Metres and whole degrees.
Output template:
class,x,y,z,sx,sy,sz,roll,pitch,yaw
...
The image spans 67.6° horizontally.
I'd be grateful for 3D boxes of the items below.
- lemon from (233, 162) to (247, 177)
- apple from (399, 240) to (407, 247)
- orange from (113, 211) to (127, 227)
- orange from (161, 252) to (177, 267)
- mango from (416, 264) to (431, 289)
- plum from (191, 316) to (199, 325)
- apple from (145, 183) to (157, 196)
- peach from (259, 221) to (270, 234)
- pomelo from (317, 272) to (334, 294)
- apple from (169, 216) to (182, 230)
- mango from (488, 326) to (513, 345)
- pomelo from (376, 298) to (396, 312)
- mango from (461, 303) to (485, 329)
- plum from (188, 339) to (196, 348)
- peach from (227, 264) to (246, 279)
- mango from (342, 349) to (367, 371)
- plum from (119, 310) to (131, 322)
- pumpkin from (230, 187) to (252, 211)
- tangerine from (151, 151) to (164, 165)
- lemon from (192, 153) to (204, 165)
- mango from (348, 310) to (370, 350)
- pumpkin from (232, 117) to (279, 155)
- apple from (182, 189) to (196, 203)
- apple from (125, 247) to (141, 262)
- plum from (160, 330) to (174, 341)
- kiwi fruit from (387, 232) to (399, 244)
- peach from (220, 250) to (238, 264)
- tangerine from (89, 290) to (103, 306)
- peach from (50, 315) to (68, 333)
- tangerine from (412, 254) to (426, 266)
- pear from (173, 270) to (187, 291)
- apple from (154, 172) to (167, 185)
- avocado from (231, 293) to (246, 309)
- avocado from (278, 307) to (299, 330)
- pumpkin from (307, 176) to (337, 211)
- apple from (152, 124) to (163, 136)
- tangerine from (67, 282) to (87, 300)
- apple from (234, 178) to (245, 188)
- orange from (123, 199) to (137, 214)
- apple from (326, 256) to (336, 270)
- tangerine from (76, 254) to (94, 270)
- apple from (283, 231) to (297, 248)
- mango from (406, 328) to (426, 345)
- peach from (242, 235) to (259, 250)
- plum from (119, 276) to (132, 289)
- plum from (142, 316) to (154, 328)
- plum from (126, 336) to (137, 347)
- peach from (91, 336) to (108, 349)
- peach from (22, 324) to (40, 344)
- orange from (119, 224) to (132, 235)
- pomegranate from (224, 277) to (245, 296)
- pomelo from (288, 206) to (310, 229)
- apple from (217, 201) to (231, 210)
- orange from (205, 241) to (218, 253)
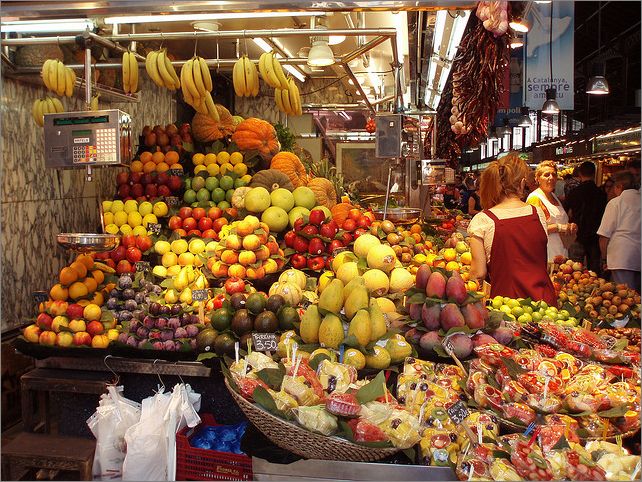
class,x,y,z,sx,sy,sz,roll,pitch,yaw
lemon,-0.825,-0.734,4.906,0.123,0.164,0.132,-2,1,5
apple,0.707,0.021,4.121,0.059,0.042,0.090,3,7,19
orange,-1.904,-0.212,4.620,0.120,0.136,0.149,6,-6,2
orange,-1.311,0.158,4.138,0.106,0.119,0.125,10,-12,33
mango,0.585,0.204,2.765,0.070,0.151,0.083,10,-2,13
plum,-0.875,0.541,3.314,0.036,0.042,0.051,1,-8,-2
apple,-1.676,-0.496,4.724,0.106,0.144,0.110,-8,5,17
peach,-0.486,-0.117,4.137,0.078,0.108,0.084,-4,-5,-1
pomelo,0.036,0.317,3.653,0.111,0.127,0.152,-7,2,-29
apple,-1.347,-0.170,4.451,0.105,0.115,0.113,2,19,-10
mango,0.976,0.504,2.576,0.083,0.075,0.096,-2,-4,-1
pomelo,0.417,0.411,3.087,0.088,0.117,0.097,-12,43,4
mango,0.825,0.407,2.660,0.082,0.151,0.078,-27,-17,-10
plum,-0.846,0.671,3.158,0.053,0.059,0.056,2,3,4
peach,-0.678,0.240,3.848,0.125,0.113,0.133,-5,8,-40
mango,0.171,0.617,2.526,0.081,0.093,0.113,0,4,-8
plum,-1.437,0.544,3.523,0.095,0.065,0.059,-3,7,-26
pumpkin,-0.780,-0.414,4.551,0.187,0.206,0.078,10,-12,-21
tangerine,-1.691,-0.859,5.020,0.103,0.118,0.128,-1,-1,14
lemon,-1.273,-0.841,4.974,0.112,0.123,0.121,3,5,8
mango,0.210,0.472,2.574,0.127,0.194,0.093,0,6,1
pumpkin,-0.678,-1.162,5.298,0.343,0.378,0.572,4,16,15
apple,-1.295,-0.438,4.701,0.115,0.141,0.109,-2,6,-17
apple,-1.649,0.127,4.265,0.109,0.150,0.123,1,-9,10
plum,-1.041,0.630,3.238,0.064,0.080,0.070,-3,3,-3
kiwi fruit,0.612,-0.024,4.109,0.083,0.091,0.078,3,-4,-25
peach,-0.737,0.121,3.863,0.098,0.112,0.098,11,5,17
tangerine,-1.699,0.430,3.649,0.076,0.100,0.081,-1,-9,3
peach,-1.837,0.586,3.389,0.137,0.107,0.080,3,7,26
tangerine,0.832,0.154,4.067,0.089,0.057,0.092,-17,21,-20
pear,-1.136,0.315,3.880,0.122,0.156,0.104,-5,8,-39
apple,-1.600,-0.611,4.805,0.104,0.138,0.104,10,-8,-37
avocado,-0.537,0.387,3.090,0.085,0.114,0.090,4,30,-3
avocado,-0.203,0.464,2.943,0.114,0.157,0.121,-1,-1,-5
pumpkin,0.011,-0.525,5.132,0.280,0.337,0.335,-2,43,-7
apple,-1.754,-1.201,5.187,0.113,0.109,0.103,-15,3,-12
tangerine,-1.804,0.363,3.619,0.108,0.121,0.133,-16,5,20
apple,-0.802,-0.567,4.710,0.080,0.110,0.089,2,4,11
orange,-1.834,-0.329,4.616,0.112,0.148,0.125,0,0,6
apple,0.075,0.184,3.940,0.078,0.108,0.084,0,6,5
tangerine,-1.831,0.155,3.739,0.108,0.145,0.111,-4,10,-25
apple,-0.262,-0.008,4.140,0.107,0.151,0.122,0,5,4
mango,0.519,0.530,2.694,0.070,0.058,0.098,-1,3,6
peach,-0.570,0.012,3.877,0.110,0.112,0.112,1,-2,3
plum,-1.514,0.310,3.699,0.086,0.097,0.088,0,4,4
plum,-1.187,0.556,3.308,0.069,0.094,0.073,-1,1,2
plum,-1.290,0.680,3.270,0.047,0.056,0.065,0,-11,-8
peach,-1.516,0.688,3.291,0.079,0.090,0.084,-1,-24,-9
peach,-2.031,0.652,3.370,0.141,0.106,0.085,6,9,43
orange,-1.817,-0.109,4.472,0.107,0.124,0.114,2,1,0
pomegranate,-0.639,0.335,3.574,0.116,0.127,0.123,2,4,20
pomelo,-0.187,-0.215,4.337,0.162,0.221,0.173,-1,3,4
apple,-0.942,-0.351,4.587,0.085,0.092,0.092,2,28,-2
orange,-0.951,0.047,4.162,0.084,0.111,0.090,1,-2,7
